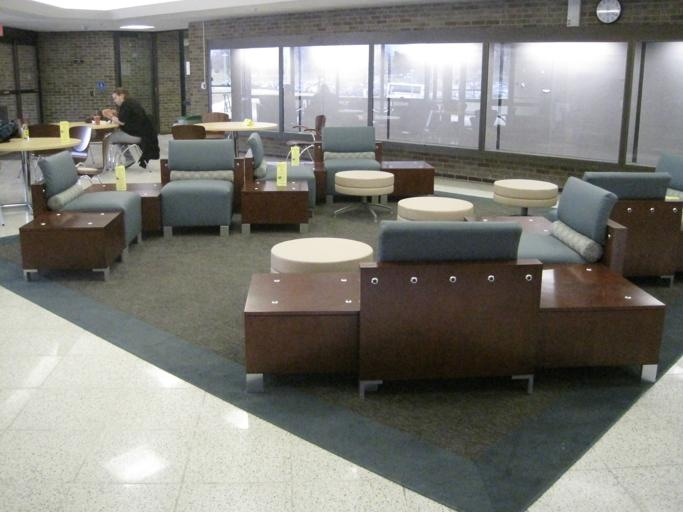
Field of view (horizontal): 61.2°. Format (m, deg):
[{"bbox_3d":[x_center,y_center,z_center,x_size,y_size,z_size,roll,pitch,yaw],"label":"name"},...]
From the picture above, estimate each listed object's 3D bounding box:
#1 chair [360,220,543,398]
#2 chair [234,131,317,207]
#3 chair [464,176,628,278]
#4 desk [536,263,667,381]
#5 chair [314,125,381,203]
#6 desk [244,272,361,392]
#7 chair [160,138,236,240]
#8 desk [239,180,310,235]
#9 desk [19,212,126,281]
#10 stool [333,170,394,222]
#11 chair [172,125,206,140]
[{"bbox_3d":[0.659,0.222,3.664,1.013,0.884,1.042,-1,17,2],"label":"chair"},{"bbox_3d":[-0.860,-1.246,7.955,1.154,1.159,1.101,-4,21,-8],"label":"chair"},{"bbox_3d":[1.651,-0.177,4.618,0.903,0.542,1.235,1,19,7],"label":"chair"},{"bbox_3d":[1.643,0.407,3.851,0.753,0.335,0.543,5,16,4],"label":"desk"},{"bbox_3d":[0.237,-1.407,8.714,1.122,1.116,1.084,-2,11,-5],"label":"chair"},{"bbox_3d":[-0.241,0.483,3.862,0.720,0.564,0.772,-1,18,0],"label":"desk"},{"bbox_3d":[-1.690,-0.871,7.215,1.188,1.480,1.131,-1,13,-7],"label":"chair"},{"bbox_3d":[-0.787,-0.604,6.836,0.714,0.425,0.677,0,17,-4],"label":"desk"},{"bbox_3d":[-2.521,-0.110,5.516,0.790,0.470,0.715,-1,21,-9],"label":"desk"},{"bbox_3d":[0.209,-0.765,7.786,0.789,0.503,0.787,-21,32,-40],"label":"stool"},{"bbox_3d":[-2.525,-2.020,9.369,0.514,0.218,0.561,-16,24,-40],"label":"chair"}]
